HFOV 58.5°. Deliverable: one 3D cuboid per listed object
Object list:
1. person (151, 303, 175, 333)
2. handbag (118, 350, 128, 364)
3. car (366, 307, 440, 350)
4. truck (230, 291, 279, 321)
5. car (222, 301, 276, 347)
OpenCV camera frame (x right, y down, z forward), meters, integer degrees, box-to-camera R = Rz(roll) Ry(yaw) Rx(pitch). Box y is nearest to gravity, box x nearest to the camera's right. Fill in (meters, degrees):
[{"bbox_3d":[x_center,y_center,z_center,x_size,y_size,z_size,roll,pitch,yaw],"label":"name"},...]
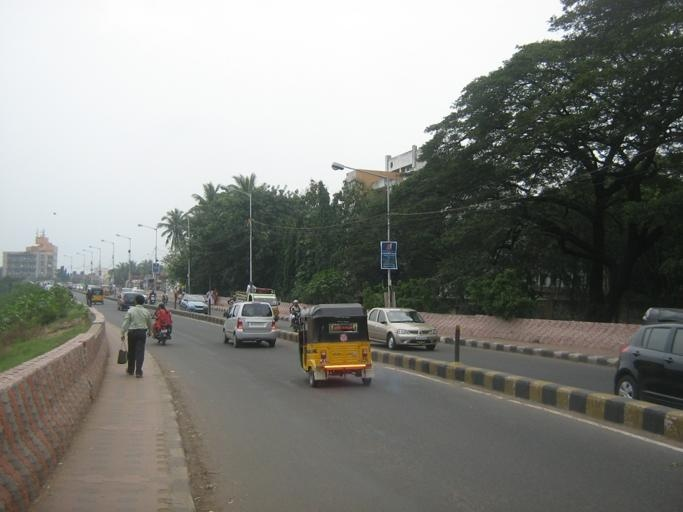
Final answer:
[{"bbox_3d":[-7.780,2.740,26.660,0.825,0.946,1.537,4,-2,-12],"label":"person"},{"bbox_3d":[-5.413,2.482,15.085,0.191,0.379,0.477,2,-3,-23],"label":"handbag"},{"bbox_3d":[2.541,3.030,25.243,1.789,1.640,2.537,3,-4,-29],"label":"car"},{"bbox_3d":[-4.843,2.799,34.660,1.781,1.837,3.125,2,-8,-24],"label":"truck"},{"bbox_3d":[-3.926,2.772,25.847,1.337,1.252,2.423,1,0,-15],"label":"car"}]
